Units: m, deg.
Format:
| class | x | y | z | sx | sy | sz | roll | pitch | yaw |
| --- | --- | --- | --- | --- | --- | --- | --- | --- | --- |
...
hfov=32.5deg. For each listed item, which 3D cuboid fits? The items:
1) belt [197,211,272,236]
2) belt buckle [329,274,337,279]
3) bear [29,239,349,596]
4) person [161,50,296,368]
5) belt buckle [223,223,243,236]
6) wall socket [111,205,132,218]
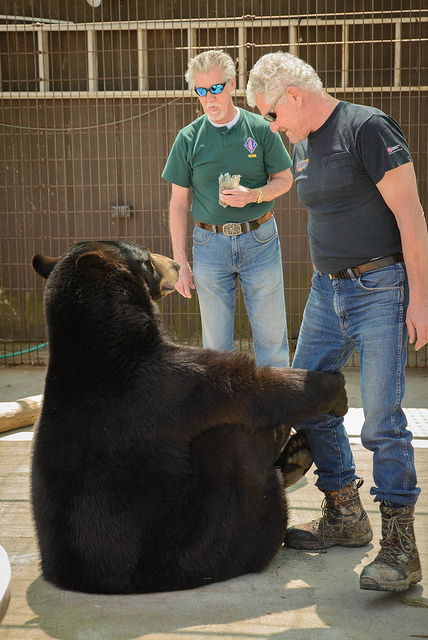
| class | x | y | z | sx | sy | sz | roll | pitch | yaw |
| --- | --- | --- | --- | --- | --- | --- | --- | --- | --- |
| belt | 0.118 | -0.537 | 4.156 | 0.411 | 0.115 | 0.180 | -2 | 9 | -1 |
| belt buckle | 0.502 | -0.182 | 3.078 | 0.028 | 0.023 | 0.006 | -2 | -4 | -6 |
| bear | -0.178 | 0.366 | 2.938 | 1.119 | 1.280 | 0.597 | -4 | 11 | -13 |
| person | 0.157 | -0.434 | 4.225 | 0.873 | 2.050 | 0.688 | -4 | 15 | 0 |
| belt buckle | 0.105 | -0.504 | 4.090 | 0.101 | 0.070 | 0.040 | -2 | 10 | -1 |
| wall socket | -1.028 | -1.205 | 8.219 | 0.249 | 0.113 | 0.151 | 0 | 0 | 7 |
